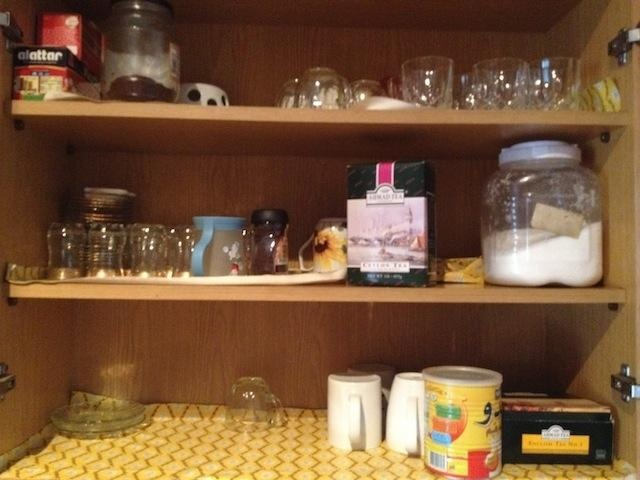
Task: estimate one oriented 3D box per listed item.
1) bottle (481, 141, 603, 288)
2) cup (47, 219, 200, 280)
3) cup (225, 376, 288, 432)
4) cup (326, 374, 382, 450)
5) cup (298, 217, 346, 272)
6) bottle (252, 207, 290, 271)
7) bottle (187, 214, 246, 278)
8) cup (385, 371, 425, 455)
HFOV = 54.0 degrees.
[{"bbox_3d":[0.531,-0.065,1.650,0.331,0.391,0.329,0,0,-26],"label":"bottle"},{"bbox_3d":[-0.506,0.010,1.618,0.299,0.111,0.165,0,4,-6],"label":"cup"},{"bbox_3d":[-0.149,0.457,1.705,0.104,0.099,0.151,14,-26,-40],"label":"cup"},{"bbox_3d":[0.085,0.438,1.569,0.122,0.172,0.197,-1,2,4],"label":"cup"},{"bbox_3d":[0.005,0.026,1.664,0.145,0.147,0.092,-1,-4,12],"label":"cup"},{"bbox_3d":[-0.137,-0.002,1.628,0.091,0.163,0.129,-4,12,-19],"label":"bottle"},{"bbox_3d":[-0.270,0.035,1.576,0.118,0.188,0.198,4,8,10],"label":"bottle"},{"bbox_3d":[0.226,0.445,1.551,0.115,0.188,0.195,1,10,7],"label":"cup"}]
